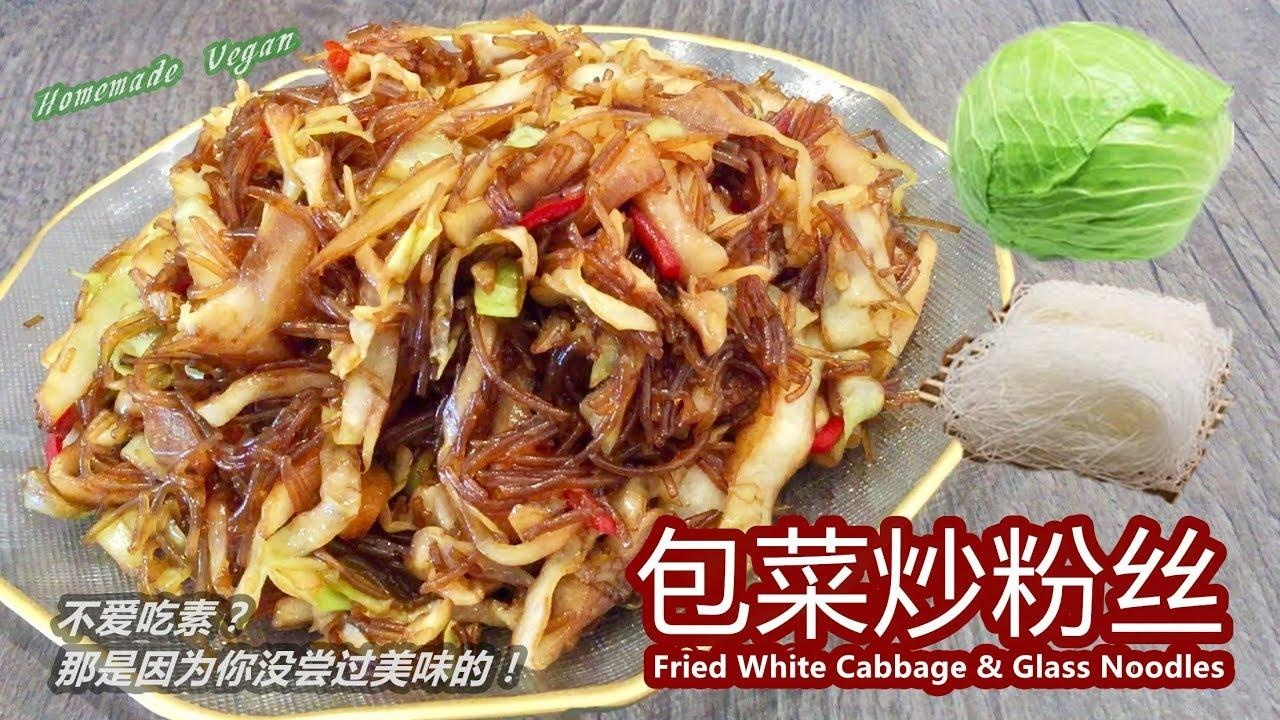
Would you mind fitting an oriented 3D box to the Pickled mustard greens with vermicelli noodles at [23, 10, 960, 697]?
[{"bbox_3d":[-0.579,-0.669,6.836,5.632,2.951,4.970,2,30,8],"label":"Pickled mustard greens with vermicelli noodles"}]

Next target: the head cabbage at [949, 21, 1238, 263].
[{"bbox_3d":[2.313,-1.165,5.806,1.282,1.043,1.384,-3,7,-13],"label":"head cabbage"}]
